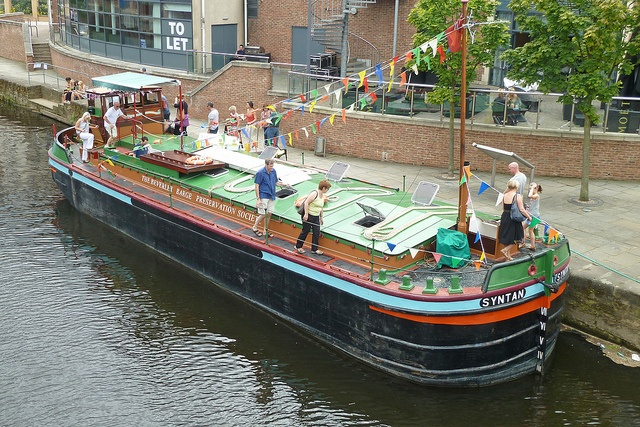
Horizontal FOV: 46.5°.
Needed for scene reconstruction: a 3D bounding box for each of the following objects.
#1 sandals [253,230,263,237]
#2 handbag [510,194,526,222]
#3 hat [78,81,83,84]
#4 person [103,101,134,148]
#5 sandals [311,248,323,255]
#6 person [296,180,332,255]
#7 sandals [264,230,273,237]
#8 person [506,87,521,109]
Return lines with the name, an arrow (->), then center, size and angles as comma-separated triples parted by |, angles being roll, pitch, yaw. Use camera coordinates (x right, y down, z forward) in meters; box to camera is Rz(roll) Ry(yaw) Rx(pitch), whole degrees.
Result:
sandals -> -1.709, 0.519, 20.123 | 0.110, 0.075, 0.273 | -40, 66, -11
handbag -> 4.794, -0.126, 18.248 | 0.346, 0.798, 0.686 | -1, 7, 29
hat -> -11.094, -6.076, 34.303 | 0.210, 0.136, 0.256 | -9, 6, 1
person -> -6.614, -2.914, 24.213 | 0.949, 1.647, 0.763 | 17, 32, 13
sandals -> -0.080, 1.007, 19.360 | 0.231, 0.084, 0.121 | 3, 23, 8
person -> -0.237, 0.082, 19.186 | 0.832, 1.982, 0.508 | 2, 13, 1
sandals -> -1.384, 0.582, 20.047 | 0.265, 0.109, 0.123 | 20, 39, 40
person -> 6.611, -3.863, 25.652 | 0.289, 0.906, 0.509 | -33, 26, -30
